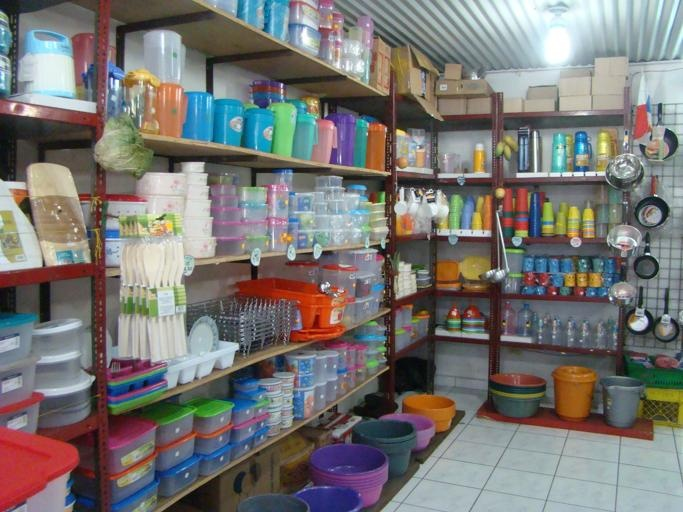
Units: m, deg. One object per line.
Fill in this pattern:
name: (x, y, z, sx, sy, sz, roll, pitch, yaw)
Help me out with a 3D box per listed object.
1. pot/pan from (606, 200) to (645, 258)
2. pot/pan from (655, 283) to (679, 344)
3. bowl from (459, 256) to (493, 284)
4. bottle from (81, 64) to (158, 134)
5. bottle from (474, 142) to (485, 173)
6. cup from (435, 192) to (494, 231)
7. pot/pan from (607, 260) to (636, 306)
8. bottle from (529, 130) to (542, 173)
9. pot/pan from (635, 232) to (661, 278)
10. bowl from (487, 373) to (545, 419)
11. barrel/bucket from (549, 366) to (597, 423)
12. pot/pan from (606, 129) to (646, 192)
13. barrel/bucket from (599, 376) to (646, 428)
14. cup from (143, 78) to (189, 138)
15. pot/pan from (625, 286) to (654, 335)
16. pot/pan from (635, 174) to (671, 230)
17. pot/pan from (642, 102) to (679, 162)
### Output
pot/pan: (2.499, -0.232, 4.513, 0.284, 0.207, 0.586, 2, 45, 18)
pot/pan: (3.015, 0.561, 4.668, 0.245, 0.528, 0.157, -3, 5, -31)
bowl: (1.378, 0.131, 5.277, 0.326, 0.231, 0.228, 0, -2, 2)
bottle: (-0.821, -0.623, 1.997, 0.300, 0.254, 0.282, -1, 7, -14)
bottle: (1.372, -0.979, 5.041, 0.106, 0.284, 0.147, 1, 5, 14)
cup: (1.213, -0.418, 4.998, 0.509, 0.358, 0.285, 1, 5, 8)
pot/pan: (2.473, 0.276, 4.480, 0.225, 0.326, 0.222, 3, 0, 30)
bottle: (1.820, -0.979, 4.748, 0.085, 0.406, 0.140, 1, 5, 20)
pot/pan: (2.833, 0.000, 4.689, 0.255, 0.403, 0.064, -2, 10, 0)
bowl: (1.542, 1.247, 4.591, 0.416, 0.232, 0.401, 0, -2, 0)
barrel/bucket: (2.047, 1.215, 4.446, 0.356, 0.340, 0.332, -1, -6, 0)
pot/pan: (2.466, -0.828, 4.369, 0.402, 0.534, 0.261, -3, 5, -34)
barrel/bucket: (2.344, 1.249, 4.354, 0.439, 0.356, 0.348, -1, 0, -17)
cup: (-0.769, -0.650, 2.243, 0.173, 0.229, 0.258, 14, 18, 15)
pot/pan: (2.753, 0.502, 4.689, 0.263, 0.429, 0.069, 1, 4, 37)
pot/pan: (2.851, -0.499, 4.658, 0.297, 0.465, 0.184, 2, 5, 20)
pot/pan: (2.881, -1.058, 4.582, 0.356, 0.569, 0.205, 0, 1, 29)
